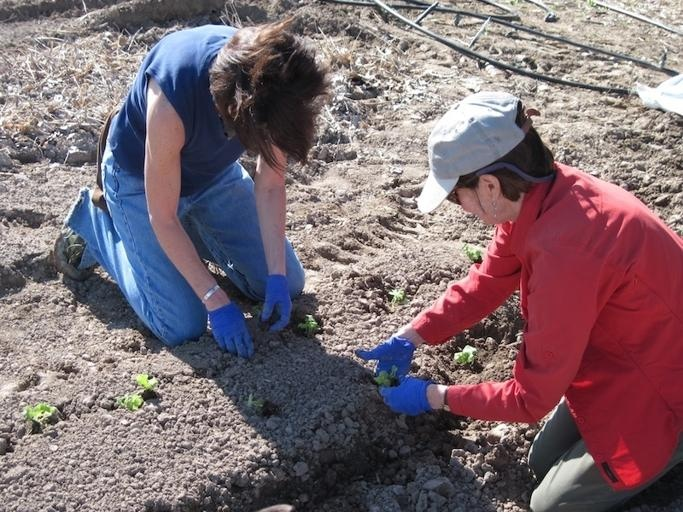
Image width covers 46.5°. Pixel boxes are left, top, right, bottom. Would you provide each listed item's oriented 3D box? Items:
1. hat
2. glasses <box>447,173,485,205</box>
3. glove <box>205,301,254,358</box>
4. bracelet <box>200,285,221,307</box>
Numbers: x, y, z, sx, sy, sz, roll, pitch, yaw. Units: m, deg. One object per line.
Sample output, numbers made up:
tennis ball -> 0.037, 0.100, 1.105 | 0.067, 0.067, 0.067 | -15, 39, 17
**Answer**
hat -> 0.645, -0.573, 4.231 | 0.646, 0.336, 0.418 | -42, 26, 13
glasses -> 0.648, -0.357, 4.207 | 0.160, 0.085, 0.120 | -61, -8, 14
glove -> -0.687, 0.462, 5.030 | 0.251, 0.353, 0.098 | -14, 2, 4
bracelet -> -0.808, 0.241, 4.941 | 0.104, 0.029, 0.098 | -48, 9, -32
